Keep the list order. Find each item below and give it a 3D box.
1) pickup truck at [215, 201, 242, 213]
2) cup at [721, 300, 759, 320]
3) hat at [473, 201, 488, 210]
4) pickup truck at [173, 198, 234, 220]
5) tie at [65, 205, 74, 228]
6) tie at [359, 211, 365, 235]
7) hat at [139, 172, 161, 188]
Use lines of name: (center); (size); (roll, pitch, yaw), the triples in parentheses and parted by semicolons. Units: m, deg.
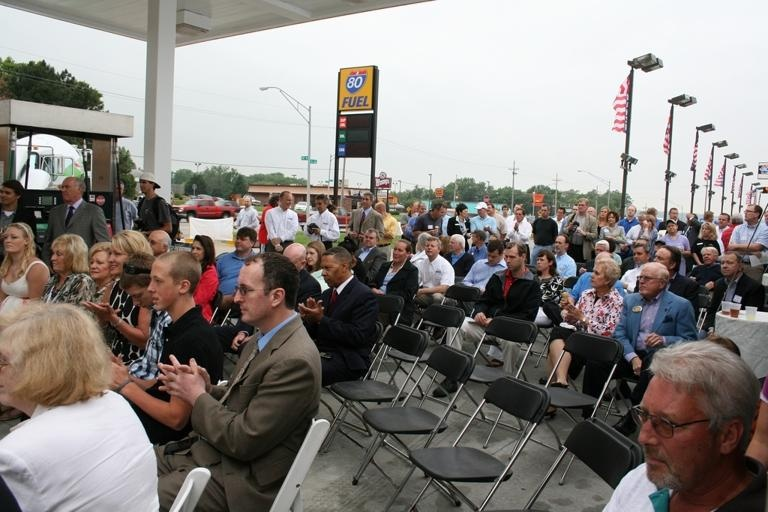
pickup truck: (-11.174, -3.633, 38.427); (1.309, 1.042, 2.370); (-6, 13, -41)
cup: (4.010, 0.602, 6.037); (0.304, 0.118, 0.206); (3, 0, 30)
hat: (2.454, -1.287, 13.259); (0.240, 0.169, 0.349); (0, 0, 39)
pickup truck: (-11.853, -3.194, 35.932); (2.146, 1.613, 4.733); (4, 2, 43)
tie: (-4.646, -0.593, 7.951); (0.108, 0.316, 0.092); (17, -16, -11)
tie: (-0.496, -0.790, 12.077); (0.093, 0.372, 0.268); (9, 3, -14)
hat: (-4.231, -1.358, 9.725); (0.278, 0.139, 0.373); (11, -1, 11)
